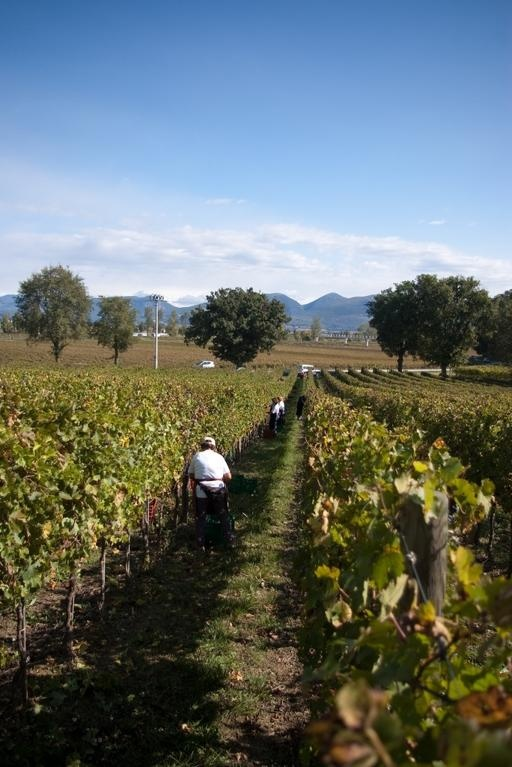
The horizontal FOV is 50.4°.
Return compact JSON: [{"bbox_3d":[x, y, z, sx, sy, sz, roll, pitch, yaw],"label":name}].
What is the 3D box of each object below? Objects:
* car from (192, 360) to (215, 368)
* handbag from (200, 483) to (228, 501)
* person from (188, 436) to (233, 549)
[{"bbox_3d":[-6.775,-2.702,72.910,2.314,1.063,1.459,4,-3,-14],"label":"car"},{"bbox_3d":[-0.638,1.638,8.132,0.324,0.328,0.241,-9,4,1],"label":"handbag"},{"bbox_3d":[-0.702,1.638,8.358,0.678,1.632,0.614,1,1,-7],"label":"person"}]
